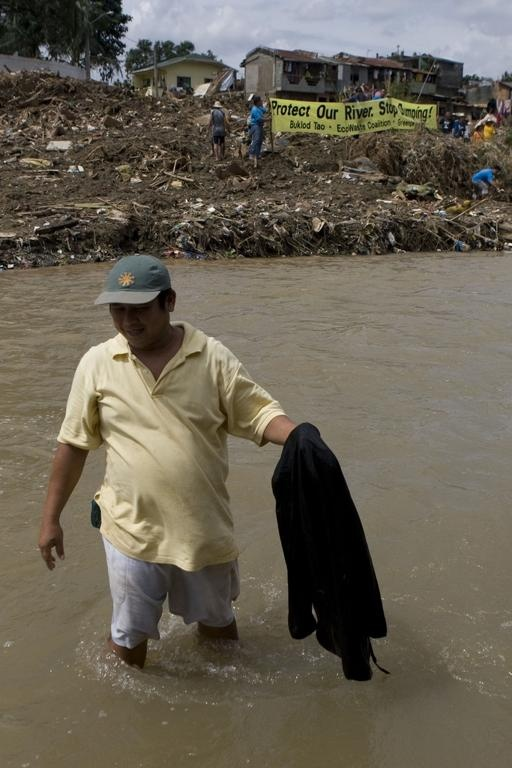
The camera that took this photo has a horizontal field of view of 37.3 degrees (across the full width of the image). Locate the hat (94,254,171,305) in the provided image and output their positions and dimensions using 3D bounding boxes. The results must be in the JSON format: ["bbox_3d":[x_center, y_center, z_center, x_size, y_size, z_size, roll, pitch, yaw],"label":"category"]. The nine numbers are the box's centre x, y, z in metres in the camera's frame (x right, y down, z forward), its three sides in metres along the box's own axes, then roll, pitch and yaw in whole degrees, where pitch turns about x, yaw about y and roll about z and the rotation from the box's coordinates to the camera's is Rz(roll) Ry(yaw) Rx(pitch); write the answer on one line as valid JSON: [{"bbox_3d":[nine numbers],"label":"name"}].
[{"bbox_3d":[-0.367,-0.333,2.360,0.219,0.151,0.298,7,18,23],"label":"hat"}]

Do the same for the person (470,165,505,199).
[{"bbox_3d":[6.276,-5.510,20.495,0.825,0.897,2.576,5,14,17],"label":"person"}]

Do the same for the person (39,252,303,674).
[{"bbox_3d":[-0.235,0.396,2.523,0.964,1.524,0.455,-3,9,2],"label":"person"}]
